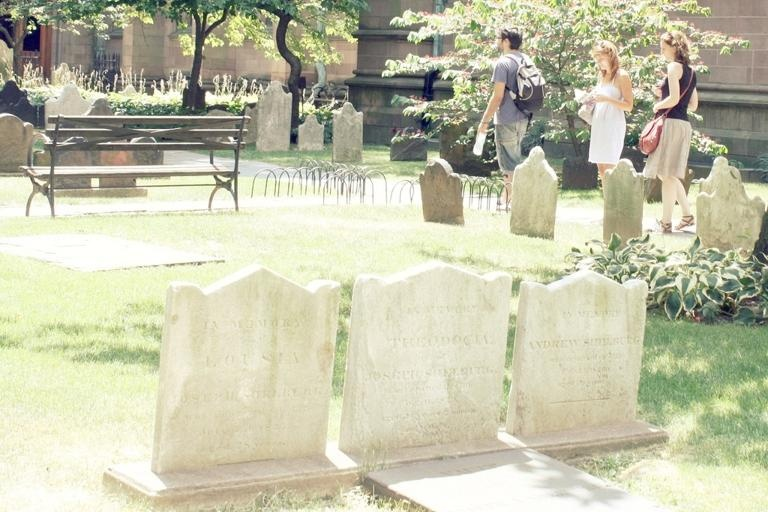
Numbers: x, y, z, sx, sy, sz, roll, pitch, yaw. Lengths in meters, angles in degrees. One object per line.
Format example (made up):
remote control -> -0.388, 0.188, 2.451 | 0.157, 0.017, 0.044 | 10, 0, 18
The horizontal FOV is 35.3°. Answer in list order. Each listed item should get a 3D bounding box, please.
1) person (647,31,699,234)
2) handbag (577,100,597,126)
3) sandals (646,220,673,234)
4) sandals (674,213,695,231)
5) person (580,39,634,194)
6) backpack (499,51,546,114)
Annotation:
person -> 4.074, -1.736, 16.984 | 0.784, 2.772, 0.564 | -1, 8, -12
handbag -> 3.047, -2.119, 17.985 | 0.365, 0.422, 0.163 | 9, 10, 14
sandals -> 3.912, -0.423, 17.065 | 0.187, 0.257, 0.569 | 0, 7, -24
sandals -> 4.315, -0.461, 17.194 | 0.157, 0.137, 0.312 | -7, 6, -6
person -> 3.285, -2.110, 17.726 | 0.738, 2.027, 0.571 | 2, 8, 11
backpack -> 2.183, -2.607, 18.415 | 0.477, 0.875, 0.511 | 9, 19, 41
